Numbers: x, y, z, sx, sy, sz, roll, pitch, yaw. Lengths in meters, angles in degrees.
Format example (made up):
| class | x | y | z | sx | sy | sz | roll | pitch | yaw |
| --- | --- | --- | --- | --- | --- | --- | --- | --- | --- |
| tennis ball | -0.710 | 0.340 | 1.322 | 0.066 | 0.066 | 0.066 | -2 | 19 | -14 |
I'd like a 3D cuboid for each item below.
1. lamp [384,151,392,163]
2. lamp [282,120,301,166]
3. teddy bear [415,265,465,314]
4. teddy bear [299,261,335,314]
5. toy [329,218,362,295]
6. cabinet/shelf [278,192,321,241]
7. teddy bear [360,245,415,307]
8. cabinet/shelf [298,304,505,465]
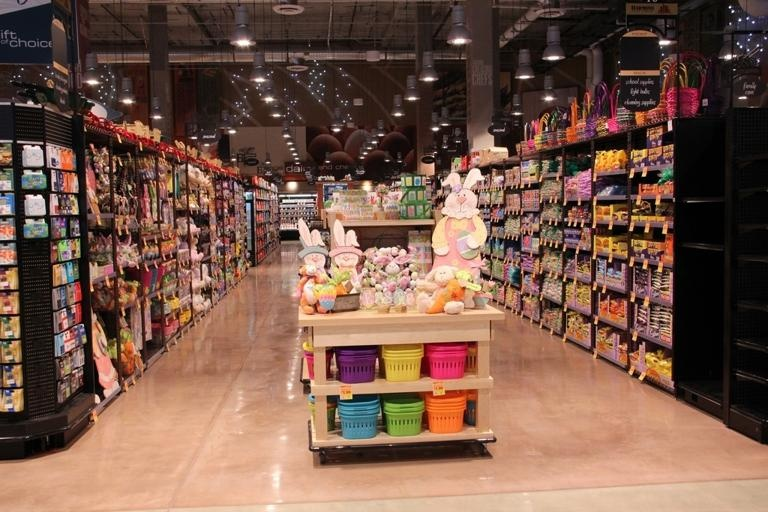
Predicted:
| class | x | y | z | sx | sy | sz | roll | pitch | yaw |
| --- | --- | --- | --- | --- | --- | --- | --- | --- | --- |
| lamp | 0.185 | -4.746 | 28.145 | 0.439 | 0.749 | 0.330 | -3 | 7 | 0 |
| lamp | -4.062 | -4.978 | 25.969 | 0.764 | 1.773 | 3.873 | -3 | 10 | -9 |
| teddy bear | 0.517 | 0.316 | 5.279 | 0.492 | 0.444 | 0.373 | 8 | 7 | 36 |
| teddy bear | -0.611 | 0.296 | 5.235 | 0.365 | 0.452 | 0.310 | 4 | 10 | 26 |
| toy | -0.354 | 0.002 | 5.429 | 0.298 | 0.633 | 0.450 | -2 | 10 | -5 |
| cabinet/shelf | -4.314 | -1.949 | 29.329 | 2.058 | 1.955 | 0.686 | -5 | 10 | -24 |
| teddy bear | 0.043 | 0.204 | 5.413 | 0.522 | 0.519 | 0.436 | -1 | 10 | 1 |
| cabinet/shelf | 0.361 | 1.138 | 5.557 | 1.423 | 1.019 | 0.939 | 16 | -1 | -24 |
